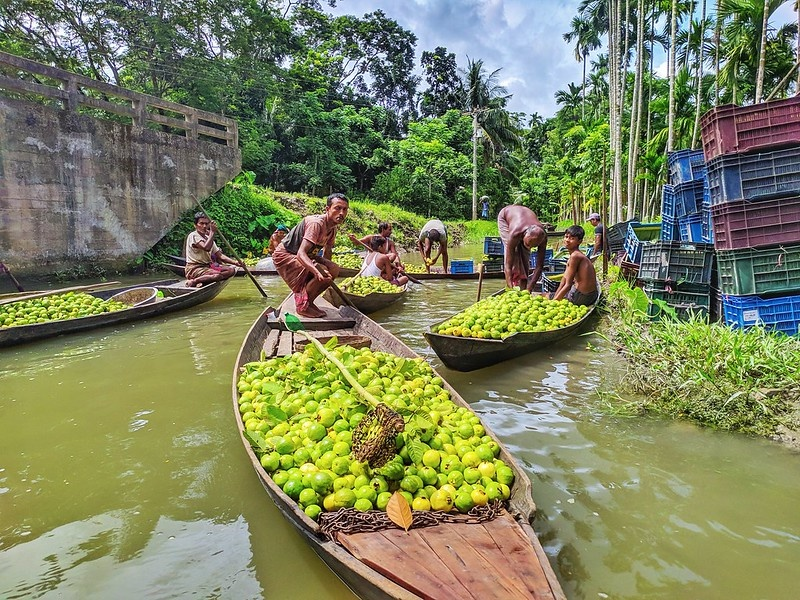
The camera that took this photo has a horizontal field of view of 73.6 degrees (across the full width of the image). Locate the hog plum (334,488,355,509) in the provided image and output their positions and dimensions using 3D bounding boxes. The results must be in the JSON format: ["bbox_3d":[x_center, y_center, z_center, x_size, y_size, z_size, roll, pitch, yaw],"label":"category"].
[{"bbox_3d":[-0.395,1.413,3.793,0.134,0.111,0.108,14,-10,-26],"label":"hog plum"}]

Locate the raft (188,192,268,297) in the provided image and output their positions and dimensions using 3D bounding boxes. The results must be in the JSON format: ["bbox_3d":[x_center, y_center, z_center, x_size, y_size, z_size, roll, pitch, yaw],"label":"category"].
[{"bbox_3d":[-3.327,-0.805,11.168,1.495,3.345,1.447,9,11,32],"label":"raft"}]

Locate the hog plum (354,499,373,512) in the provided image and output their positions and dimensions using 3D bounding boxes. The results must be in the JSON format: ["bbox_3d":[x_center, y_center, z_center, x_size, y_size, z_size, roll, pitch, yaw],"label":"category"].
[{"bbox_3d":[-0.253,1.456,3.770,0.087,0.090,0.087,4,-31,-21],"label":"hog plum"}]

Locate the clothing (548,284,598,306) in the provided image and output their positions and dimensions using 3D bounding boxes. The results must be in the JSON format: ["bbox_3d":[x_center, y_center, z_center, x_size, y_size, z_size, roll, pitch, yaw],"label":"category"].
[{"bbox_3d":[2.738,-0.126,8.183,0.485,0.233,0.372,-10,-6,-18],"label":"clothing"}]

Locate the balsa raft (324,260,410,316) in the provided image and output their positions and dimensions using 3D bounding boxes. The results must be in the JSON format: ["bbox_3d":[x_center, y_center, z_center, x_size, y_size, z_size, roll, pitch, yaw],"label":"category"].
[{"bbox_3d":[-0.604,-0.189,9.021,0.985,0.804,0.983,1,3,-1],"label":"balsa raft"}]

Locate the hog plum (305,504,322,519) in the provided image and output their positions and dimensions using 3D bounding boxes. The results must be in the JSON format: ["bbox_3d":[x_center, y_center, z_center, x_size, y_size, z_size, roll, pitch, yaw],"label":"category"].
[{"bbox_3d":[-0.621,1.506,3.824,0.096,0.098,0.095,-23,-6,-46],"label":"hog plum"}]

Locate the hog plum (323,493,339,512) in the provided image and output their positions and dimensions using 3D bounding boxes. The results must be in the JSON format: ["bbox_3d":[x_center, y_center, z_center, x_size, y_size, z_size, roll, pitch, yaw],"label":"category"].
[{"bbox_3d":[-0.503,1.456,3.854,0.098,0.132,0.103,2,10,18],"label":"hog plum"}]

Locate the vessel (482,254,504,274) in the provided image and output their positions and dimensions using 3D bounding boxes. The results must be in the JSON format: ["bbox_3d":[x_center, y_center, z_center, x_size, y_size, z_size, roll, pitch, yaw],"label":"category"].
[{"bbox_3d":[2.466,-0.948,14.195,0.731,0.492,0.768,-2,0,-5],"label":"vessel"}]

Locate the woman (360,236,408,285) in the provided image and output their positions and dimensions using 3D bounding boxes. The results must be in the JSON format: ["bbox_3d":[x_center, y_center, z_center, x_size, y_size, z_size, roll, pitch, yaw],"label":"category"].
[{"bbox_3d":[-0.444,-0.718,10.671,1.106,1.125,0.729,2,5,38],"label":"woman"}]

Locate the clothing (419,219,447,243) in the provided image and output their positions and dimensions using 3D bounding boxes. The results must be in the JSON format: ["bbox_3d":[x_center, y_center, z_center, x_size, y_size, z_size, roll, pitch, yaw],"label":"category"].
[{"bbox_3d":[0.835,-1.752,13.584,0.672,0.563,0.956,-1,5,-2],"label":"clothing"}]

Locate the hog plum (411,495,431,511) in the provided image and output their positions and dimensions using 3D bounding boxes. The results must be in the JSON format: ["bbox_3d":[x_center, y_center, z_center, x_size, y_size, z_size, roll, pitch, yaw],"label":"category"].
[{"bbox_3d":[0.146,1.462,3.790,0.087,0.095,0.090,-3,4,-17],"label":"hog plum"}]

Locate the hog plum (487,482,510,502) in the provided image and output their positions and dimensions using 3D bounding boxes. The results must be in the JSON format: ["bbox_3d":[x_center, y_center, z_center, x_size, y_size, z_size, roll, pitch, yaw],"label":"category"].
[{"bbox_3d":[0.716,1.407,3.902,0.212,0.122,0.077,-2,5,-16],"label":"hog plum"}]

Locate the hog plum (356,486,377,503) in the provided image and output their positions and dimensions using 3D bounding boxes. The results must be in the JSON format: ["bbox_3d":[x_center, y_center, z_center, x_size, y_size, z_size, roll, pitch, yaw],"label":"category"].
[{"bbox_3d":[-0.242,1.383,3.851,0.111,0.129,0.106,42,-28,-13],"label":"hog plum"}]

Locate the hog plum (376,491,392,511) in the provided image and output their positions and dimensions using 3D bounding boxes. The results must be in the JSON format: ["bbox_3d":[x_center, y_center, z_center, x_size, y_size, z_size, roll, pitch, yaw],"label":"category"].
[{"bbox_3d":[-0.125,1.440,3.810,0.103,0.128,0.103,-8,-22,41],"label":"hog plum"}]

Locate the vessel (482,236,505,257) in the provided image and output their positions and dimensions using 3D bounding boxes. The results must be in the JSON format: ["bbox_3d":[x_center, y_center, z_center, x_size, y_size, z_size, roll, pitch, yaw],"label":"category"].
[{"bbox_3d":[2.718,-1.536,15.594,0.808,0.549,0.849,1,13,3],"label":"vessel"}]

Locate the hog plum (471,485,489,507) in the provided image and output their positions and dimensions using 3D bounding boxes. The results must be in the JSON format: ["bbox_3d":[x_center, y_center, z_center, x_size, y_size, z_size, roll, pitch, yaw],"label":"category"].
[{"bbox_3d":[0.571,1.412,3.842,0.100,0.106,0.108,9,-27,24],"label":"hog plum"}]

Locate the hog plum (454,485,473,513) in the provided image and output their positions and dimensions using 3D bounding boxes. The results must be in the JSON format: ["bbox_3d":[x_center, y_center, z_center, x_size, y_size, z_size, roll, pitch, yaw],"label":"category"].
[{"bbox_3d":[0.456,1.441,3.838,0.134,0.149,0.099,0,5,8],"label":"hog plum"}]

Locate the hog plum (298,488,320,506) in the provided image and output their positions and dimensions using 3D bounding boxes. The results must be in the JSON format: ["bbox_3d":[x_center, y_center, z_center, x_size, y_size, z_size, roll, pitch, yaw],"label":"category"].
[{"bbox_3d":[-0.658,1.415,3.814,0.109,0.110,0.133,31,-49,-13],"label":"hog plum"}]
